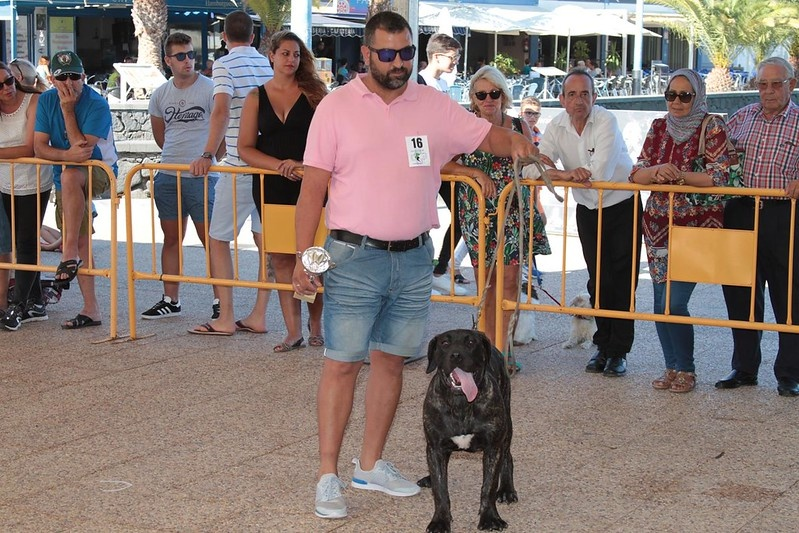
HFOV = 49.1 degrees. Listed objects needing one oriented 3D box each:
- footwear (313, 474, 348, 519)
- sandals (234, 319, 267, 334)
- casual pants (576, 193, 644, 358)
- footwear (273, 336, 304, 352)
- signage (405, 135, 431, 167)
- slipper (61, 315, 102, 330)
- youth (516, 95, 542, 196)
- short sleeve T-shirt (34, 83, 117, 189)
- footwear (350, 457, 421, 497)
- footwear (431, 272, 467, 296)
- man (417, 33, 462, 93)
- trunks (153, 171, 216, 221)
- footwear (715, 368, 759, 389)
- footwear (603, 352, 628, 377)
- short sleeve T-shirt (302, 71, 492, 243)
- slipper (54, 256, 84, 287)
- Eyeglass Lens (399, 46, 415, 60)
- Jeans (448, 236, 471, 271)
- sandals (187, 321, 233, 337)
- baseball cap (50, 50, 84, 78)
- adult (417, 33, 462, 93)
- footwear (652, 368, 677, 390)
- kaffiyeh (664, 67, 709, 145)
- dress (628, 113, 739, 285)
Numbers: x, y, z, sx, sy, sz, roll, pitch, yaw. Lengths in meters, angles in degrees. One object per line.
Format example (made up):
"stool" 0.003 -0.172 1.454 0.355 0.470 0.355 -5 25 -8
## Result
"footwear" -0.421 1.360 5.135 0.140 0.133 0.321 0 3 -9
"sandals" -1.475 0.566 8.334 0.312 0.079 0.121 5 2 4
"casual pants" 1.741 -0.146 7.425 0.501 1.314 0.315 -5 45 9
"footwear" -1.038 0.712 7.847 0.290 0.106 0.105 0 -3 -36
"signage" 0.073 -0.665 5.099 0.189 0.200 0.012 -5 2 -25
"slipper" -3.139 0.540 8.446 0.377 0.129 0.141 1 -1 -31
"youth" 1.621 -1.666 10.877 0.275 0.875 0.317 -21 24 -39
"short sleeve T-shirt" -3.271 -1.249 8.425 0.643 0.838 0.554 6 17 -9
"footwear" -0.115 1.311 5.467 0.490 0.200 0.184 6 -3 3
"footwear" 0.490 0.211 9.748 0.577 0.215 0.188 3 2 -2
"man" 0.348 -2.448 10.566 0.521 0.721 0.562 25 26 39
"trunks" -2.170 -0.724 8.697 0.704 0.569 0.424 3 18 4
"footwear" 2.694 0.912 7.070 0.369 0.146 0.135 0 1 -7
"footwear" 1.782 0.824 7.298 0.171 0.161 0.423 2 -3 20
"short sleeve T-shirt" -0.017 -0.655 5.334 1.309 0.902 0.479 -5 15 -26
"slipper" -3.166 0.038 8.163 0.146 0.101 0.391 -3 27 3
"Eyeglass Lens" 0.012 -1.219 5.005 0.093 0.038 0.092 -18 43 -18
"Jeans" 0.575 -0.141 9.154 0.121 0.115 0.405 21 24 20
"sandals" -1.838 0.605 8.206 0.398 0.101 0.151 3 0 -4
"baseball cap" -3.147 -1.852 8.045 0.228 0.160 0.315 -4 7 -22
"adult" 0.386 -2.469 10.631 0.569 0.729 0.569 2 22 -15
"footwear" 2.107 0.910 6.994 0.096 0.101 0.258 4 6 34
"kaffiyeh" 2.217 -1.227 6.754 0.301 0.552 0.236 4 15 15
"dress" 2.209 -0.464 6.930 0.748 1.347 0.482 8 9 34
